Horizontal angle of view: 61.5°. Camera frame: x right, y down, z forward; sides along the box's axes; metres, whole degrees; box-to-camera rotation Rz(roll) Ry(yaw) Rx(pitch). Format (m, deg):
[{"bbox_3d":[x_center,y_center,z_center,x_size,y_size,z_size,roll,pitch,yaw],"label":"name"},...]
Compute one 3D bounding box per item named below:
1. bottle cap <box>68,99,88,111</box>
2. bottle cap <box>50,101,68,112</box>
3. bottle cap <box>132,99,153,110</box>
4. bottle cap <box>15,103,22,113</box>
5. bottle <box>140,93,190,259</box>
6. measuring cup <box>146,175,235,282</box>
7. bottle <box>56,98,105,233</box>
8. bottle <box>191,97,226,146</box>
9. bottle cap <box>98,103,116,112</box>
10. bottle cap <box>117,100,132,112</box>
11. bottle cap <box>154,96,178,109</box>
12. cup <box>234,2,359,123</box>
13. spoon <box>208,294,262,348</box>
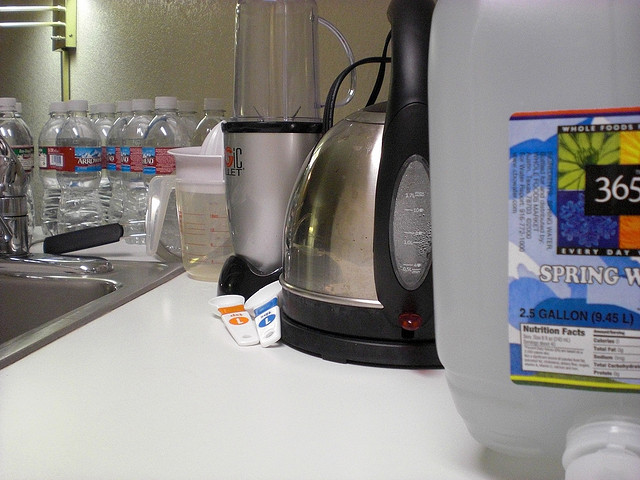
[{"bbox_3d":[-0.594,-0.324,1.323,0.032,0.018,0.034,4,6,27],"label":"bottle cap"},{"bbox_3d":[-0.657,-0.335,1.361,0.040,0.023,0.042,1,6,5],"label":"bottle cap"},{"bbox_3d":[-0.438,-0.335,1.335,0.033,0.019,0.035,3,9,10],"label":"bottle cap"},{"bbox_3d":[-0.761,-0.334,1.367,0.019,0.022,0.019,-2,13,-25],"label":"bottle cap"},{"bbox_3d":[-0.355,-0.177,1.248,0.120,0.339,0.529,-4,13,-18],"label":"bottle"},{"bbox_3d":[-0.198,-0.018,0.874,0.186,0.200,0.124,2,6,19],"label":"measuring cup"},{"bbox_3d":[-0.597,-0.187,1.339,0.126,0.313,0.240,-5,13,-22],"label":"bottle"},{"bbox_3d":[-0.268,-0.284,1.286,0.078,0.118,0.255,-3,13,-13],"label":"bottle"},{"bbox_3d":[-0.555,-0.346,1.409,0.027,0.016,0.029,5,9,24],"label":"bottle cap"},{"bbox_3d":[-0.496,-0.340,1.373,0.028,0.021,0.029,2,9,6],"label":"bottle cap"},{"bbox_3d":[-0.361,-0.323,1.271,0.045,0.027,0.047,1,11,0],"label":"bottle cap"},{"bbox_3d":[-0.036,-0.260,0.862,0.220,0.238,0.154,0,3,-11],"label":"cup"},{"bbox_3d":[-0.098,0.089,0.655,0.033,0.022,0.104,-4,17,-11],"label":"spoon"}]
